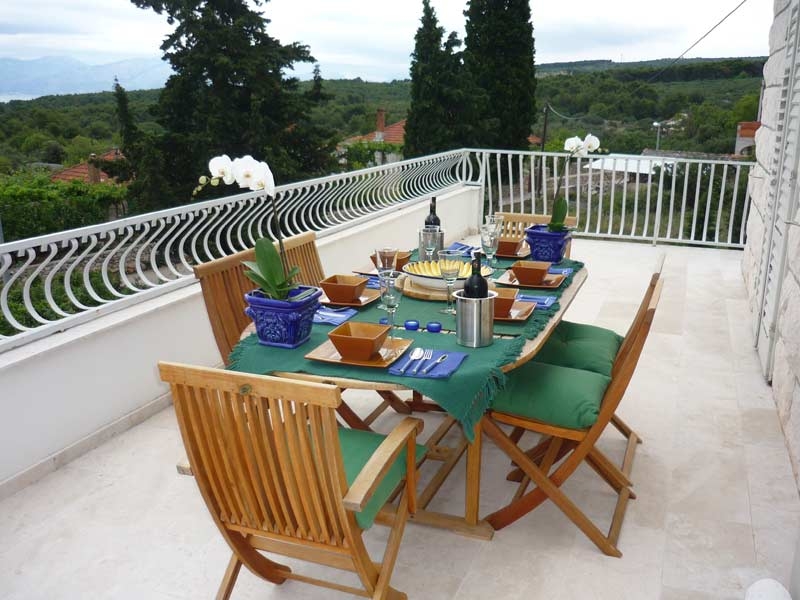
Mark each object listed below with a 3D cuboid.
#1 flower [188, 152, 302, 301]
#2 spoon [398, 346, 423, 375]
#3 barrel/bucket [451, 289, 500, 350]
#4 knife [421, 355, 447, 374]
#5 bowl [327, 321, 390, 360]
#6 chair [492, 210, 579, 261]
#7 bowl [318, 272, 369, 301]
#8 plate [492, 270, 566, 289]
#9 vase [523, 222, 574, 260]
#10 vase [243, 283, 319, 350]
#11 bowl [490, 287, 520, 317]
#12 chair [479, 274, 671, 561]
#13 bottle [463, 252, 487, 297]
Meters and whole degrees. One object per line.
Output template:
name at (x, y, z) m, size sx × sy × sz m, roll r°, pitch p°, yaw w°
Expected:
flower at (-0.613, -0.279, 2.354) m, size 0.339 × 0.652 × 0.414 m, roll 3°, pitch 27°, yaw 17°
spoon at (0.045, 0.228, 2.126) m, size 0.038 × 0.024 × 0.162 m, roll -2°, pitch 25°, yaw 22°
barrel/bucket at (0.306, 0.066, 2.274) m, size 0.162 × 0.211 × 0.145 m, roll 0°, pitch 22°, yaw 1°
knife at (0.125, 0.243, 2.107) m, size 0.102 × 0.017 × 0.012 m, roll -29°, pitch 66°, yaw -39°
bowl at (-0.184, 0.191, 2.203) m, size 0.212 × 0.109 × 0.255 m, roll 8°, pitch -5°, yaw -13°
chair at (0.892, -0.373, 3.775) m, size 0.634 × 0.421 × 0.479 m, roll 6°, pitch 9°, yaw 13°
bowl at (-0.260, -0.082, 2.602) m, size 0.135 × 0.075 × 0.160 m, roll 4°, pitch 21°, yaw 13°
plate at (0.645, -0.090, 2.836) m, size 0.190 × 0.026 × 0.180 m, roll -14°, pitch 18°, yaw -36°
vase at (0.803, -0.307, 3.087) m, size 0.242 × 0.209 × 0.199 m, roll 6°, pitch 26°, yaw 16°
vase at (-0.482, 0.055, 2.329) m, size 0.248 × 0.196 × 0.261 m, roll 7°, pitch 20°, yaw 14°
bowl at (0.447, 0.014, 2.426) m, size 0.126 × 0.097 × 0.109 m, roll 1°, pitch 15°, yaw 7°
chair at (0.875, 0.454, 2.873) m, size 0.761 × 1.029 × 1.295 m, roll 5°, pitch 13°, yaw 26°
bottle at (0.307, -0.119, 2.238) m, size 0.100 × 0.182 × 0.189 m, roll 4°, pitch 22°, yaw 10°
